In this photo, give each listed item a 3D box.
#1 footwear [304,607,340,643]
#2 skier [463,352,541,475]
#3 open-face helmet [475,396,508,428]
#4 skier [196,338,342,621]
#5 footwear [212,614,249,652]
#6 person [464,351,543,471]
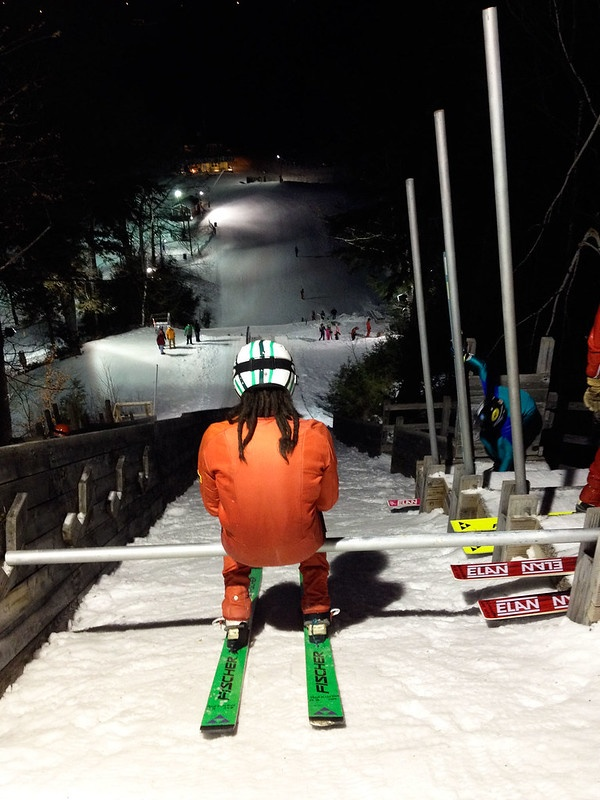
[{"bbox_3d":[0.100,1.172,2.960,0.137,0.081,0.219,-1,8,3],"label":"footwear"},{"bbox_3d":[2.559,0.133,7.065,0.890,1.448,1.472,-4,2,22],"label":"skier"},{"bbox_3d":[2.418,0.163,7.052,0.143,0.361,0.475,-5,2,-17],"label":"open-face helmet"},{"bbox_3d":[-0.150,0.418,2.702,0.653,1.352,0.771,0,2,-3],"label":"skier"},{"bbox_3d":[-0.324,1.171,2.841,0.296,0.108,0.084,3,38,14],"label":"footwear"},{"bbox_3d":[2.545,0.187,7.186,1.181,1.810,1.125,6,15,16],"label":"person"}]
